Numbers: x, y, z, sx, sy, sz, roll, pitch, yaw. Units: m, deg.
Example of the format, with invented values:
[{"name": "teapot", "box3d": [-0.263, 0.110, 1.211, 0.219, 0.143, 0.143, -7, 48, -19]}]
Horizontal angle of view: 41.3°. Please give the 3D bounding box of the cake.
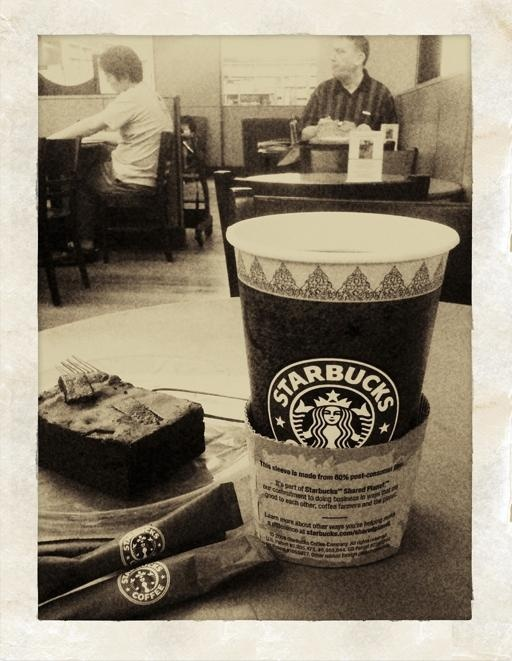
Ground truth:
[{"name": "cake", "box3d": [-0.296, 0.208, 1.463, 0.363, 0.138, 0.262, 16, 27, 29]}]
